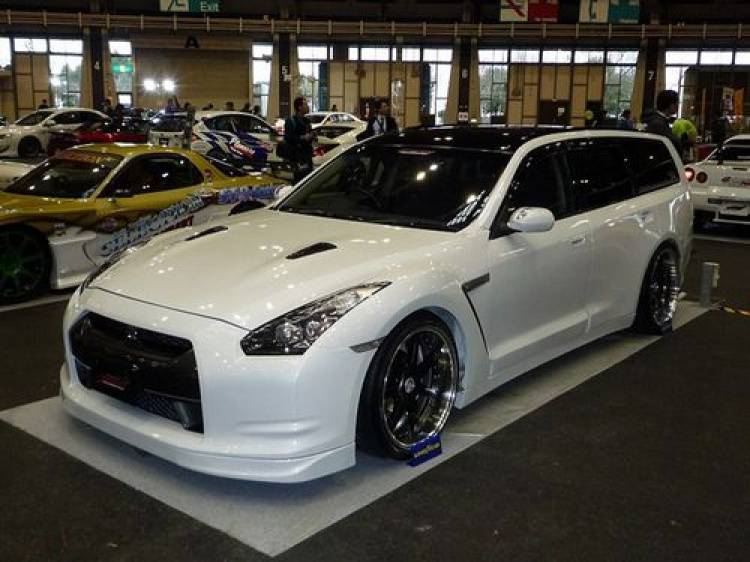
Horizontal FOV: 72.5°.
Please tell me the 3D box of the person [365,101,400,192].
[{"bbox_3d":[0.202,-4.000,14.697,0.937,2.503,0.664,-4,-10,11],"label":"person"}]
